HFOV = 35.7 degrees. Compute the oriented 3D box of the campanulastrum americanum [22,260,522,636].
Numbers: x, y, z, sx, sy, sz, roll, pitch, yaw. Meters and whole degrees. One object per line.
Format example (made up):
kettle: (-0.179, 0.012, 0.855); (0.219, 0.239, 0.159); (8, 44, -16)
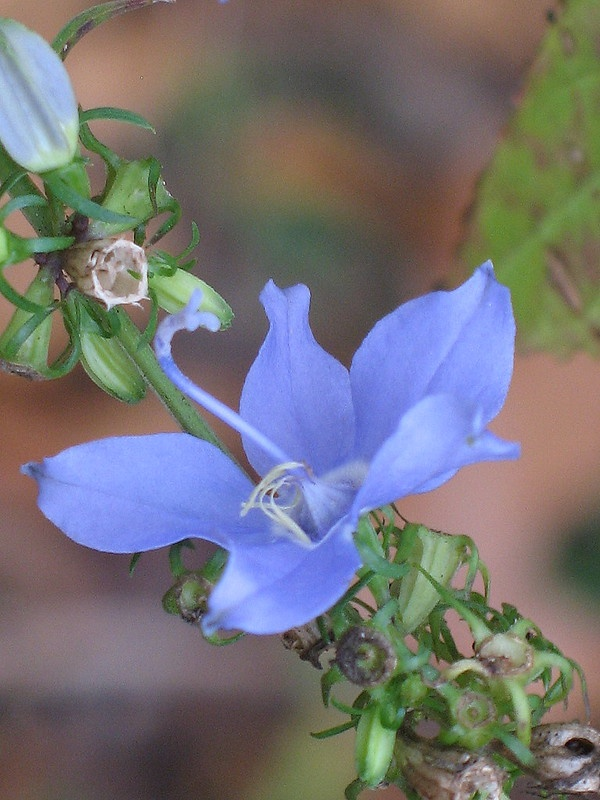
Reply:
campanulastrum americanum: (-0.011, 0.010, 0.357); (0.182, 0.068, 0.180); (-25, 14, -10)
